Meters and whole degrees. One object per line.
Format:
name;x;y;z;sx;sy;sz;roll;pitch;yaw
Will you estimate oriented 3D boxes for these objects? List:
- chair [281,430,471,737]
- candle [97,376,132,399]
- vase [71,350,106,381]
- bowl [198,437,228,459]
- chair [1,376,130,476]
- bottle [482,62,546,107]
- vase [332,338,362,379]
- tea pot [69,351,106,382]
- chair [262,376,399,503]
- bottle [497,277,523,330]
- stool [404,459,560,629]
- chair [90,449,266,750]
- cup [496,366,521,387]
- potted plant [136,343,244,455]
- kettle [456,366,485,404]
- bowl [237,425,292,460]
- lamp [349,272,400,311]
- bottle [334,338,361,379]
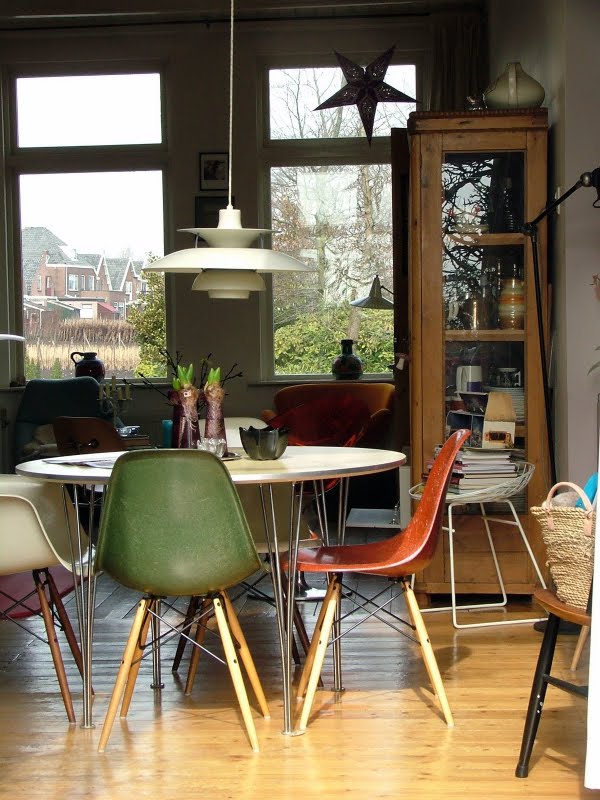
chair;0.192;0.468;2.109;0.515;0.681;0.448;-4;-5;16
candle;-1.420;-0.091;5.902;0.210;0.244;0.137;2;8;0
vase;-1.686;-0.280;6.236;0.328;0.298;0.249;-1;4;-10
bowl;-0.254;0.138;2.290;0.081;0.059;0.084;1;5;0
chair;-1.900;0.180;5.937;0.838;0.995;0.839;-4;-3;-2
bottle;0.947;-1.353;3.433;0.239;0.214;0.237;7;18;30
vase;0.370;-0.322;6.125;0.303;0.377;0.292;0;1;-4
tea pot;-1.686;-0.274;6.232;0.332;0.302;0.252;-1;4;-10
chair;0.175;0.295;5.233;0.835;0.832;0.793;4;-3;28
bottle;0.920;-0.427;3.446;0.160;0.231;0.159;-1;3;0
stool;0.777;0.568;3.176;0.458;0.570;0.423;-3;-16;-3
chair;-0.314;0.504;2.061;0.435;0.755;0.713;-1;-2;-3
cup;0.908;-0.100;3.366;0.094;0.074;0.072;2;-2;10
potted plant;-0.323;0.028;2.382;0.229;0.284;0.197;-14;10;-35
kettle;0.734;-0.081;3.382;0.165;0.166;0.102;0;-2;29
bowl;-0.108;0.129;2.328;0.111;0.071;0.105;0;-6;0
lamp;0.573;-0.801;6.054;0.367;0.239;0.375;4;2;4
bottle;0.367;-0.318;6.192;0.192;0.325;0.222;0;-2;-40
